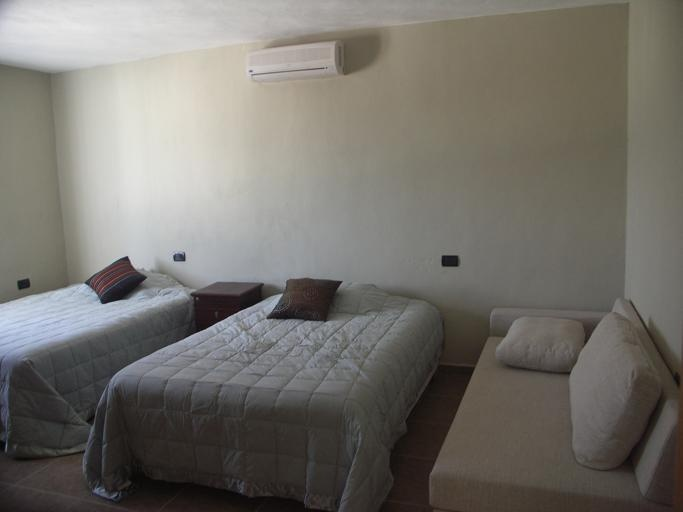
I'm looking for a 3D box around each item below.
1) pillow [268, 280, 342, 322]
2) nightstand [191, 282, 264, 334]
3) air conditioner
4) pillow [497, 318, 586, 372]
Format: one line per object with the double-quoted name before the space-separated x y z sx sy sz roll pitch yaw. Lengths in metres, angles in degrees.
"pillow" -0.315 0.376 4.158 0.348 0.132 0.401 0 34 19
"nightstand" -1.080 0.407 4.716 0.450 0.503 0.478 1 10 9
"air conditioner" -0.430 -1.746 4.514 0.814 0.334 0.308 0 19 14
"pillow" 1.328 0.591 3.326 0.377 0.176 0.410 -1 28 40
